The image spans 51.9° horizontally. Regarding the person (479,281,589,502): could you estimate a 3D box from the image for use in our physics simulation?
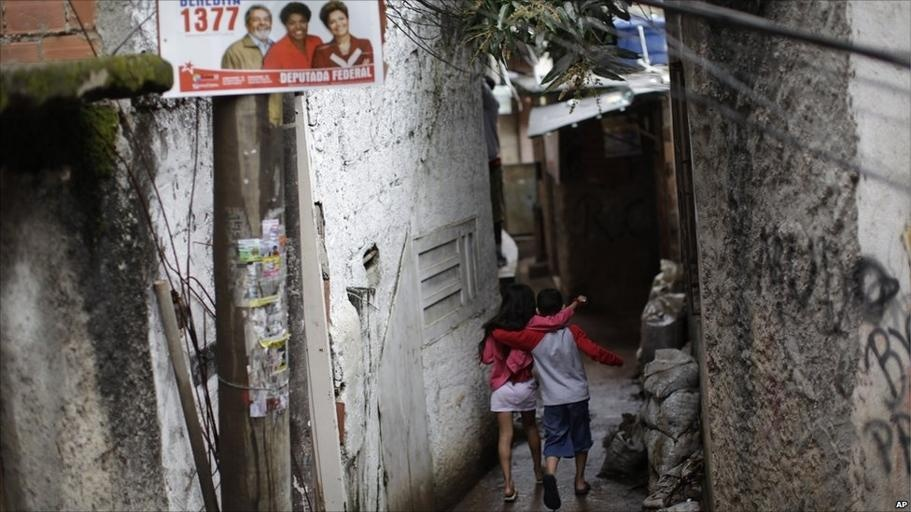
[{"bbox_3d":[0.709,1.148,8.241,0.886,1.789,0.733,-4,12,-3],"label":"person"}]

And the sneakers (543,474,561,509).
[{"bbox_3d":[0.799,1.982,7.834,0.139,0.299,0.122,-9,-6,19],"label":"sneakers"}]

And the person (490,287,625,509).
[{"bbox_3d":[0.898,1.325,7.954,1.011,1.490,0.448,-5,2,0],"label":"person"}]

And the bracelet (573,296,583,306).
[{"bbox_3d":[1.060,0.387,7.906,0.071,0.037,0.100,-5,18,33],"label":"bracelet"}]
